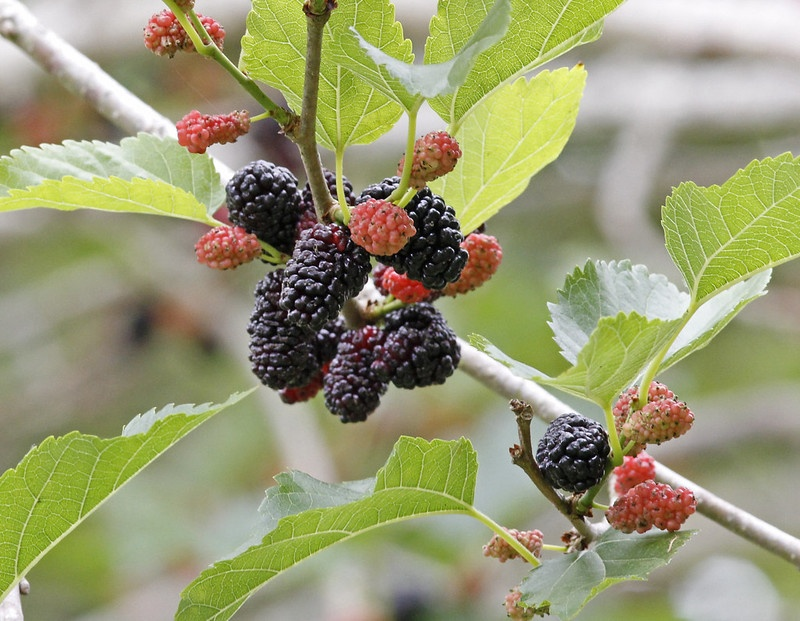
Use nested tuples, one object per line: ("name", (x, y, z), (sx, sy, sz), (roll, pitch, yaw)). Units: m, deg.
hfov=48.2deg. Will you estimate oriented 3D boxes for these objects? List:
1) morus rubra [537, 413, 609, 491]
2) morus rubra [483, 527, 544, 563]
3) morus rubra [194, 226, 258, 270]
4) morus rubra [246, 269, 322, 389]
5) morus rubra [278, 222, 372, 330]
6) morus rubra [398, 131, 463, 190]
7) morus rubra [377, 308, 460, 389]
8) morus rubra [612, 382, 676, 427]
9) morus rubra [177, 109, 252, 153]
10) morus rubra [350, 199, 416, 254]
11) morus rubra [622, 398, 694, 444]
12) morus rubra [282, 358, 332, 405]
("morus rubra", (0.270, 0.221, 1.372), (0.104, 0.052, 0.115), (23, 75, 9))
("morus rubra", (0.184, 0.373, 1.459), (0.081, 0.055, 0.038), (-13, 93, 3))
("morus rubra", (-0.267, -0.095, 1.377), (0.091, 0.057, 0.053), (2, 59, -2))
("morus rubra", (-0.180, 0.036, 1.401), (0.102, 0.097, 0.188), (-2, 102, 32))
("morus rubra", (-0.110, -0.052, 1.327), (0.107, 0.089, 0.158), (21, 74, 10))
("morus rubra", (0.048, -0.215, 1.266), (0.097, 0.056, 0.054), (-34, 75, 21))
("morus rubra", (0.035, 0.078, 1.457), (0.137, 0.089, 0.109), (-12, 52, 8))
("morus rubra", (0.373, 0.142, 1.392), (0.085, 0.071, 0.048), (-29, 94, 13))
("morus rubra", (-0.271, -0.274, 1.358), (0.115, 0.055, 0.054), (-10, 110, -2))
("morus rubra", (-0.026, -0.118, 1.248), (0.067, 0.086, 0.059), (-9, 104, -34))
("morus rubra", (0.403, 0.173, 1.370), (0.057, 0.116, 0.060), (-8, 78, -24))
("morus rubra", (-0.163, 0.106, 1.507), (0.088, 0.118, 0.054), (2, 90, 1))
